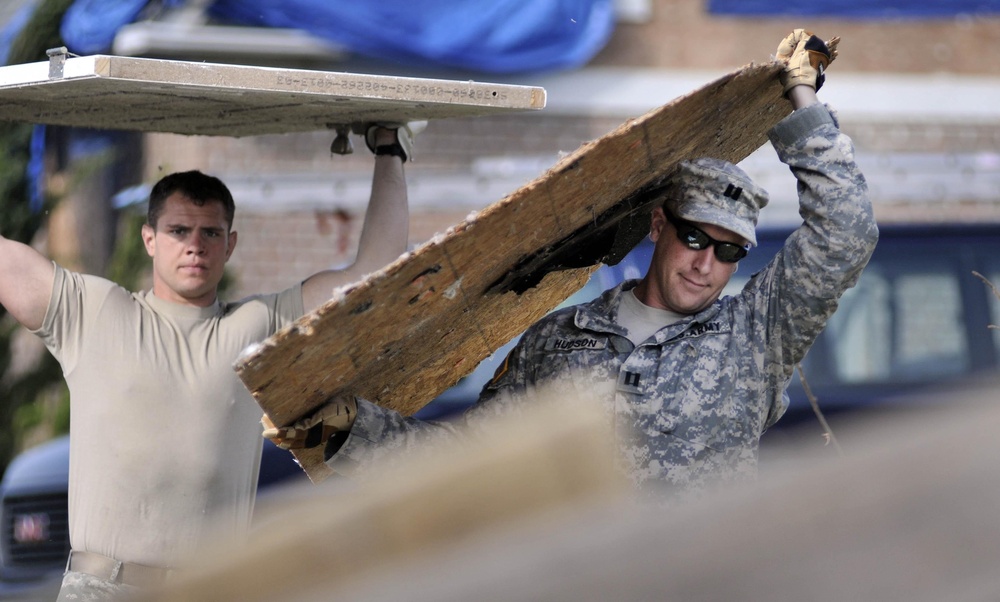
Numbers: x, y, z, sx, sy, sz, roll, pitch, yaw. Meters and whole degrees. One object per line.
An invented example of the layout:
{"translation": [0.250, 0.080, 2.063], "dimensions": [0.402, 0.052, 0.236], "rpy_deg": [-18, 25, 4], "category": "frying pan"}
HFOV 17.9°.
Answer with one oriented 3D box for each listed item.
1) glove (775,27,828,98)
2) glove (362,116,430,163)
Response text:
{"translation": [2.764, -2.279, 29.711], "dimensions": [0.542, 0.574, 0.589], "rpy_deg": [10, 11, -15], "category": "glove"}
{"translation": [-0.972, -1.548, 29.979], "dimensions": [0.586, 0.348, 0.269], "rpy_deg": [5, 41, -15], "category": "glove"}
